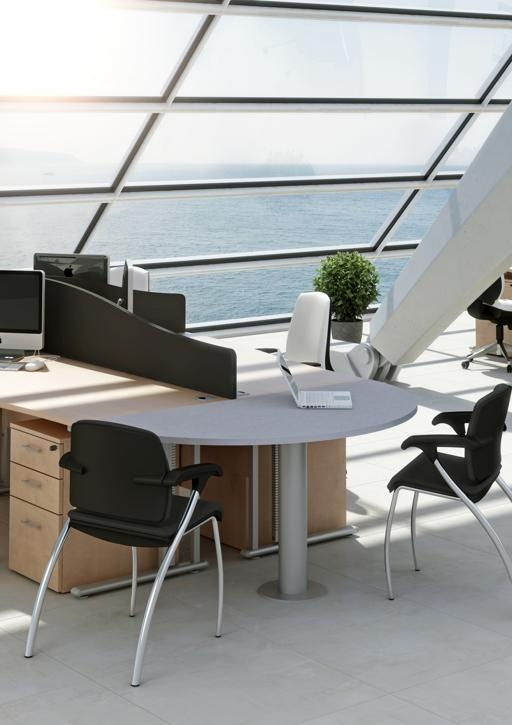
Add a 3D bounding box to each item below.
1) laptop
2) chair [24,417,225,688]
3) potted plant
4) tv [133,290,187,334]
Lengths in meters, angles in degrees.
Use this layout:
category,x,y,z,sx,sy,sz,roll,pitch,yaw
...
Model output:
category,x,y,z,sx,sy,sz,roll,pitch,yaw
laptop,0.259,0.086,2.674,0.280,0.185,0.272,-2,10,-4
chair,-0.408,0.540,1.930,0.516,0.706,0.554,-1,-1,18
potted plant,1.054,-0.732,7.951,1.077,1.182,0.973,-9,-2,8
tv,-0.645,-0.325,4.013,0.323,0.282,0.180,6,14,19
